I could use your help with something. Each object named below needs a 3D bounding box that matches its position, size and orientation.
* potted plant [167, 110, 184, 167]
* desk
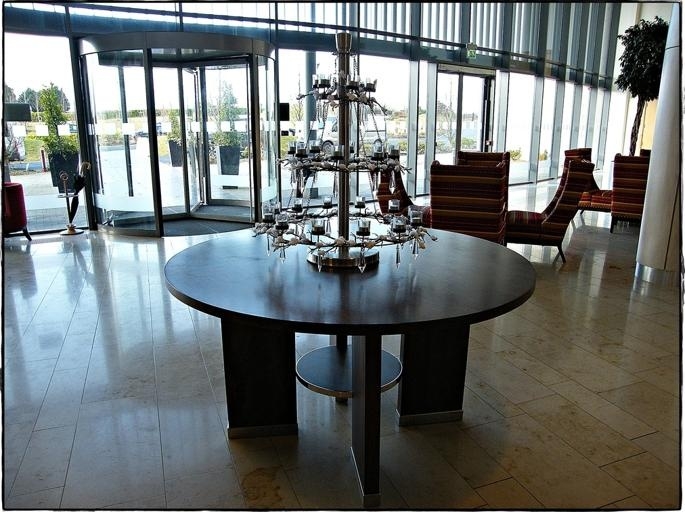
[{"bbox_3d":[-2.753,-1.901,8.198,0.123,0.903,0.351,2,16,13],"label":"potted plant"},{"bbox_3d":[0.036,0.366,2.767,1.707,0.920,1.715,-3,24,-9],"label":"desk"}]
